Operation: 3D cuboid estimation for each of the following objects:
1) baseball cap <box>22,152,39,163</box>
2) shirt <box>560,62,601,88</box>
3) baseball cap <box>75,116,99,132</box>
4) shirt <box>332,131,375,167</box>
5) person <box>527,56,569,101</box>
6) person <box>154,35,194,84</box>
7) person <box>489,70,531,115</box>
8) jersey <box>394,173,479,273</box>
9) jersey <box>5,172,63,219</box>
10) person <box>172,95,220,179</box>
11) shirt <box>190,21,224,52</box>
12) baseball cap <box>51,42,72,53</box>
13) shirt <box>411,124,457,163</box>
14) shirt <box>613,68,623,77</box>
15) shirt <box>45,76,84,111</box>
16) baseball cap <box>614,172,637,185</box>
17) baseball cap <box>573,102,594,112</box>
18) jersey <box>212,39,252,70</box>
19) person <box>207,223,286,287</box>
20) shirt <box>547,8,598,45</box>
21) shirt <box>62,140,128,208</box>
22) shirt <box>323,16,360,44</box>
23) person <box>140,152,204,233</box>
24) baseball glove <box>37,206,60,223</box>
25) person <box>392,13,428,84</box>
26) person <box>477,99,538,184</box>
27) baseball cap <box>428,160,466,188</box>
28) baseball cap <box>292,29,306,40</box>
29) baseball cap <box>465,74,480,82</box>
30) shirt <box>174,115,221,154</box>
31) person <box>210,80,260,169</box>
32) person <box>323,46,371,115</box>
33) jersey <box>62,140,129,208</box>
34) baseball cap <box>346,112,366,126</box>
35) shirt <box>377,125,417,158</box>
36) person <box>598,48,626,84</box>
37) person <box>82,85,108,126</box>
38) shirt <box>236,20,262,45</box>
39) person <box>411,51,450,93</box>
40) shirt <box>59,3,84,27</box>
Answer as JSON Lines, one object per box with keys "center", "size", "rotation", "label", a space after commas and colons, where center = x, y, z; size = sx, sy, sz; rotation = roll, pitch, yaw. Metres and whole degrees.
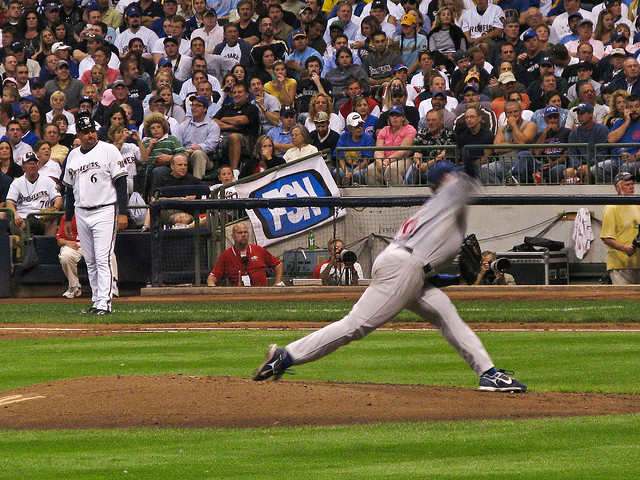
{"center": [-5.446, -1.589, 28.902], "size": [0.290, 0.204, 0.350], "rotation": [-3, 14, -14], "label": "baseball cap"}
{"center": [5.037, -3.317, 30.316], "size": [0.865, 0.454, 0.847], "rotation": [0, 7, 44], "label": "shirt"}
{"center": [-3.801, -1.894, 24.815], "size": [0.215, 0.142, 0.299], "rotation": [-17, 3, -32], "label": "baseball cap"}
{"center": [0.691, -1.824, 30.151], "size": [0.896, 0.662, 0.439], "rotation": [5, 10, 13], "label": "shirt"}
{"center": [4.487, -3.188, 30.262], "size": [0.881, 1.205, 0.694], "rotation": [-3, -15, 13], "label": "person"}
{"center": [-3.209, -3.783, 33.107], "size": [1.032, 1.268, 0.608], "rotation": [0, -22, -14], "label": "person"}
{"center": [3.710, -2.916, 29.786], "size": [0.647, 0.511, 1.033], "rotation": [-7, 7, 0], "label": "person"}
{"center": [1.595, -0.220, 20.215], "size": [1.047, 1.341, 0.439], "rotation": [35, -2, 12], "label": "jersey"}
{"center": [-5.422, -0.828, 29.349], "size": [1.360, 1.046, 0.766], "rotation": [0, -4, -4], "label": "jersey"}
{"center": [-2.510, -1.931, 30.338], "size": [1.046, 1.808, 1.095], "rotation": [5, 9, 8], "label": "person"}
{"center": [-2.511, -4.484, 33.823], "size": [0.850, 0.714, 0.466], "rotation": [6, 11, -13], "label": "shirt"}
{"center": [-5.722, -4.233, 33.460], "size": [0.409, 0.154, 0.262], "rotation": [-8, 3, 23], "label": "baseball cap"}
{"center": [2.205, -1.844, 29.570], "size": [0.870, 0.689, 0.521], "rotation": [4, 15, 12], "label": "shirt"}
{"center": [5.811, -3.301, 29.943], "size": [0.189, 0.079, 0.211], "rotation": [-11, -3, -7], "label": "shirt"}
{"center": [-5.513, -3.171, 32.498], "size": [0.827, 0.443, 0.777], "rotation": [-3, -34, -34], "label": "shirt"}
{"center": [5.405, -1.143, 27.573], "size": [0.268, 0.192, 0.407], "rotation": [-2, -11, -43], "label": "baseball cap"}
{"center": [5.019, -2.548, 29.167], "size": [0.346, 0.203, 0.545], "rotation": [2, 14, 7], "label": "baseball cap"}
{"center": [-1.910, -3.980, 32.987], "size": [0.878, 0.790, 0.487], "rotation": [6, 13, 17], "label": "jersey"}
{"center": [-1.421, 0.281, 28.387], "size": [1.112, 1.694, 0.609], "rotation": [-4, -5, -8], "label": "person"}
{"center": [5.216, -4.481, 32.174], "size": [0.701, 0.489, 1.184], "rotation": [20, 4, 22], "label": "shirt"}
{"center": [-3.718, -1.088, 25.169], "size": [1.224, 1.140, 0.632], "rotation": [-5, 0, 26], "label": "shirt"}
{"center": [0.466, -4.528, 32.885], "size": [0.795, 0.617, 0.423], "rotation": [-8, 0, -10], "label": "shirt"}
{"center": [-2.705, -0.932, 28.520], "size": [1.293, 1.396, 0.717], "rotation": [-10, 18, -36], "label": "person"}
{"center": [-5.095, -0.492, 28.804], "size": [0.382, 0.241, 0.629], "rotation": [-2, 14, -9], "label": "baseball glove"}
{"center": [1.820, -3.934, 31.970], "size": [0.895, 1.609, 0.901], "rotation": [7, 15, 30], "label": "person"}
{"center": [3.613, -1.781, 29.455], "size": [1.123, 1.847, 1.163], "rotation": [-5, -6, 12], "label": "person"}
{"center": [1.685, -0.917, 20.512], "size": [0.438, 0.320, 0.221], "rotation": [-15, -36, 6], "label": "baseball cap"}
{"center": [-0.434, -4.415, 32.643], "size": [0.299, 0.153, 0.410], "rotation": [-2, -1, 2], "label": "baseball cap"}
{"center": [3.021, -3.206, 30.124], "size": [0.215, 0.151, 0.344], "rotation": [6, 12, 12], "label": "baseball cap"}
{"center": [-2.502, -2.128, 30.387], "size": [0.996, 0.689, 0.762], "rotation": [4, 6, 34], "label": "shirt"}
{"center": [-1.686, -2.257, 30.616], "size": [0.930, 1.838, 1.084], "rotation": [4, 6, 40], "label": "person"}
{"center": [0.521, -2.966, 31.296], "size": [1.006, 2.033, 0.859], "rotation": [-4, -17, -2], "label": "person"}
{"center": [-3.720, -1.096, 25.146], "size": [1.200, 1.131, 0.616], "rotation": [-5, 3, 25], "label": "jersey"}
{"center": [0.649, -2.372, 29.778], "size": [0.340, 0.238, 0.235], "rotation": [5, 15, 16], "label": "baseball cap"}
{"center": [1.509, -1.920, 29.746], "size": [0.605, 0.541, 0.343], "rotation": [5, -10, 32], "label": "shirt"}
{"center": [5.763, -3.440, 30.003], "size": [0.679, 0.774, 0.560], "rotation": [-5, 9, -42], "label": "person"}
{"center": [-4.595, -2.769, 31.416], "size": [0.327, 0.951, 0.393], "rotation": [-18, -24, 8], "label": "person"}
{"center": [-1.558, -4.575, 33.579], "size": [0.639, 0.667, 0.375], "rotation": [-2, -11, 9], "label": "shirt"}
{"center": [2.209, -3.358, 31.181], "size": [0.857, 1.046, 0.596], "rotation": [-5, -8, 7], "label": "person"}
{"center": [-5.835, -5.294, 35.947], "size": [0.772, 0.699, 0.411], "rotation": [0, -5, -5], "label": "shirt"}
